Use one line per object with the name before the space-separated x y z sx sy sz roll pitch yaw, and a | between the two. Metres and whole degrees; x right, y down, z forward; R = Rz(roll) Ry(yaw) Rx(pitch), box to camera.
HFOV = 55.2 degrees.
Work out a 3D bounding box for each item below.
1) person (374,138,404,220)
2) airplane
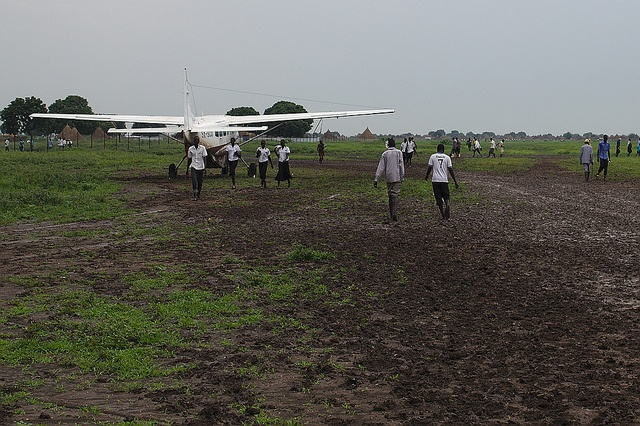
person | 2.179 -0.947 17.412 0.768 2.292 1.107 0 9 5
airplane | -5.681 -4.399 32.162 12.829 3.951 7.407 -4 9 -24
